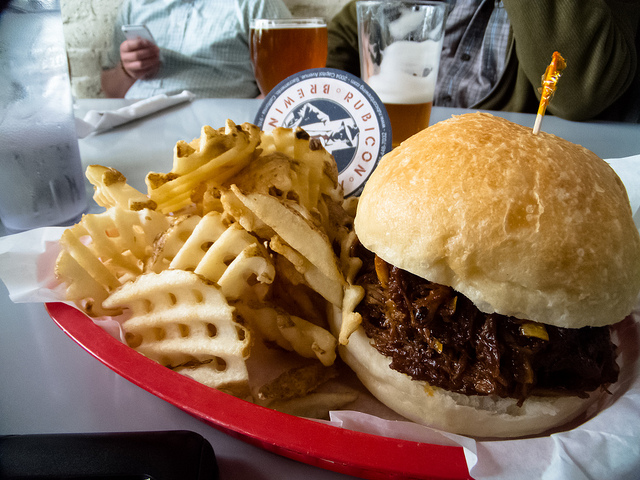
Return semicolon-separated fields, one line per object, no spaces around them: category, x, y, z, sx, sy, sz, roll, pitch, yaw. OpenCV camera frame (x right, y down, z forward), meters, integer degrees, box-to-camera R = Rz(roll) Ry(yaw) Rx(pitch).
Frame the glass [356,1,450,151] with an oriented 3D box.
glass;0.248;-0.560;2.008;0.186;0.543;0.305;8;18;25

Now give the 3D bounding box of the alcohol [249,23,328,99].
alcohol;-0.125;-0.683;2.212;0.289;0.325;0.283;-8;34;-15

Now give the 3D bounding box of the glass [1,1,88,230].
glass;-0.888;-0.385;1.882;0.225;0.666;0.302;9;22;32

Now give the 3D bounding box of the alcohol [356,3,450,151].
alcohol;0.278;-0.561;2.025;0.265;0.576;0.263;6;25;14
